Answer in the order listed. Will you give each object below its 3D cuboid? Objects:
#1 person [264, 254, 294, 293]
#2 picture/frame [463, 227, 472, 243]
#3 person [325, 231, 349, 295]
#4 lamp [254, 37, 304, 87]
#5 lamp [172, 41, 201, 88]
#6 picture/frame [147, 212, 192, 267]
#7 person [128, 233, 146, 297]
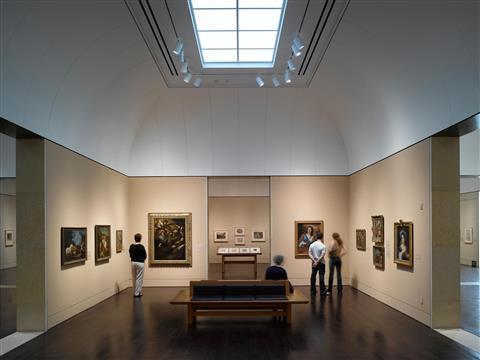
[{"bbox_3d":[1.275,3.193,11.356,0.888,1.426,0.789,-4,-13,29],"label":"person"},{"bbox_3d":[12.663,3.024,19.116,0.279,0.912,0.622,0,-2,-3],"label":"picture/frame"},{"bbox_3d":[3.969,3.453,14.541,0.492,2.489,1.212,-2,-3,42],"label":"person"},{"bbox_3d":[1.562,-4.445,13.355,1.464,0.919,3.642,0,-3,-2],"label":"lamp"},{"bbox_3d":[-2.124,-4.492,13.087,0.372,0.801,2.060,14,-21,22],"label":"lamp"},{"bbox_3d":[-3.313,2.889,16.171,1.977,2.698,0.202,-1,-6,-2],"label":"picture/frame"},{"bbox_3d":[-4.335,3.516,14.506,0.645,2.535,1.328,1,-2,-19],"label":"person"}]
